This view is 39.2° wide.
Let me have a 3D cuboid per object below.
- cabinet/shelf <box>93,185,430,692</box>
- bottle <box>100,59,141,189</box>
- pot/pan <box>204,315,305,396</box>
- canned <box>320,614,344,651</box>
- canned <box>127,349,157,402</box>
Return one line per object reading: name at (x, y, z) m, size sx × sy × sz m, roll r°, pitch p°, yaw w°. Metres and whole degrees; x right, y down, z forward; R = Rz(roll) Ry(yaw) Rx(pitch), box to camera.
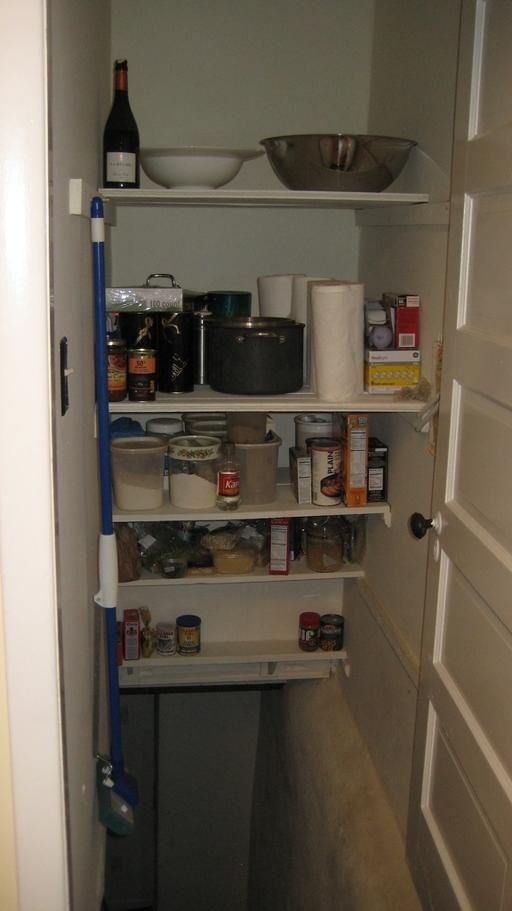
cabinet/shelf at (0.005, 0.120, 1.841) m, size 0.740 × 1.507 × 0.937 m, roll -3°, pitch 12°, yaw -13°
bottle at (-0.303, -0.724, 1.584) m, size 0.081 × 0.288 × 0.288 m, roll -2°, pitch 12°, yaw -10°
pot/pan at (0.000, -0.213, 1.534) m, size 0.155 × 0.139 × 0.192 m, roll -1°, pitch 10°, yaw -1°
canned at (0.231, 0.531, 2.212) m, size 0.079 × 0.104 × 0.087 m, roll 2°, pitch 14°, yaw 9°
canned at (-0.241, -0.184, 1.601) m, size 0.060 × 0.110 × 0.097 m, roll 10°, pitch 16°, yaw 42°
